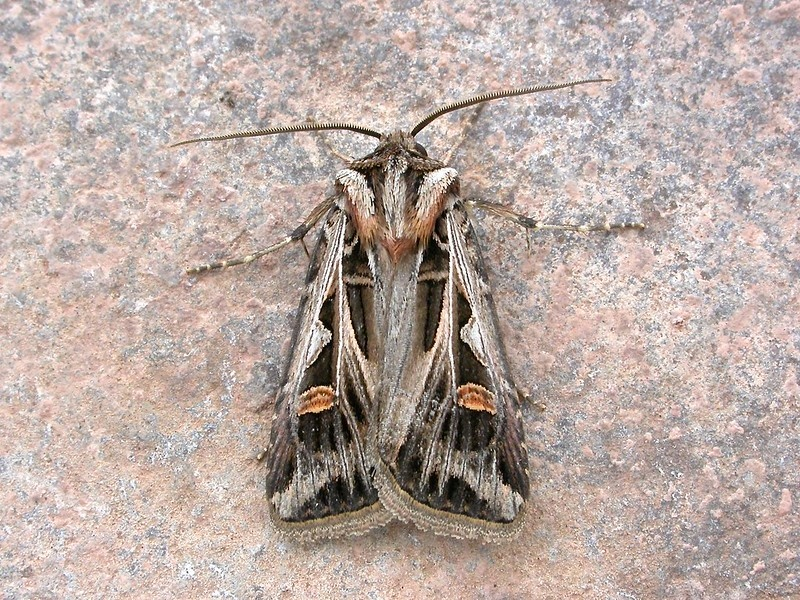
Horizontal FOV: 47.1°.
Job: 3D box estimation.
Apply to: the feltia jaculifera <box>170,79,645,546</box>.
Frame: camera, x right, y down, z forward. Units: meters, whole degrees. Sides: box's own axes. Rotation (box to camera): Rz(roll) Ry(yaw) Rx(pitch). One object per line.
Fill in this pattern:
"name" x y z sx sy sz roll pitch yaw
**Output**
"feltia jaculifera" 0.121 0.222 6.599 2.533 0.859 2.766 -5 77 2
